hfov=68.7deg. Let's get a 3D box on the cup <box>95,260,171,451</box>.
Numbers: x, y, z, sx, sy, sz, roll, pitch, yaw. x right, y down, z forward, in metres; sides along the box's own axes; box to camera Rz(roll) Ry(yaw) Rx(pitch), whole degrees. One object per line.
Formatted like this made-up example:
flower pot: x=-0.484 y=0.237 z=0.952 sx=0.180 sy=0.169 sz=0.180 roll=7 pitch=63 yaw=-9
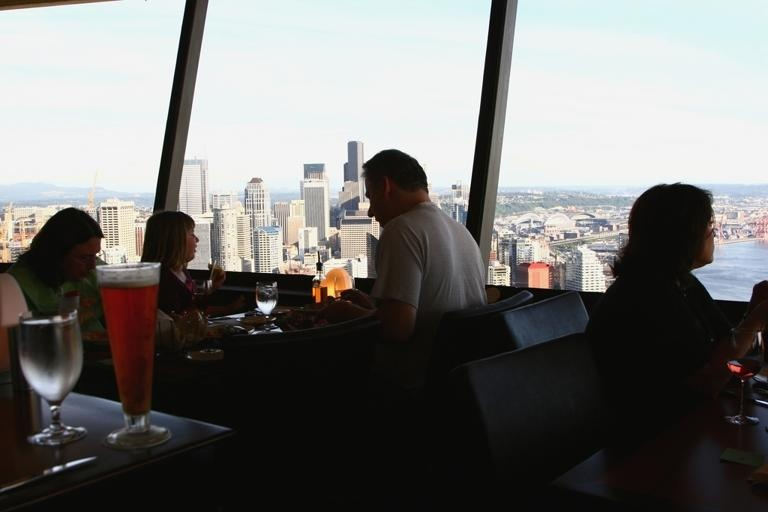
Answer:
cup: x=-0.549 y=0.221 z=1.242 sx=0.140 sy=0.409 sz=0.113 roll=0 pitch=5 yaw=-20
